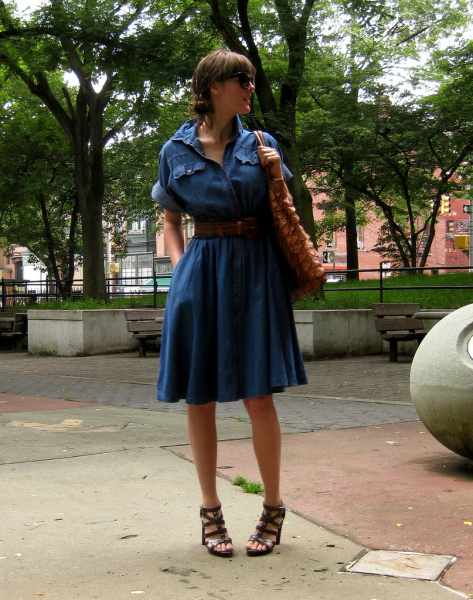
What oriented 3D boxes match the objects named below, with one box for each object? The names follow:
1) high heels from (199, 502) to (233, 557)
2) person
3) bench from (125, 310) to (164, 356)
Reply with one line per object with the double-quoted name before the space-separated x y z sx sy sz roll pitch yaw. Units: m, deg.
"high heels" -0.078 0.841 2.379 0.105 0.163 0.217 -4 1 -8
"person" 0.001 -0.015 2.454 0.653 1.723 0.395 -4 1 -7
"bench" -2.033 0.673 13.971 0.453 0.671 1.190 0 -1 31
